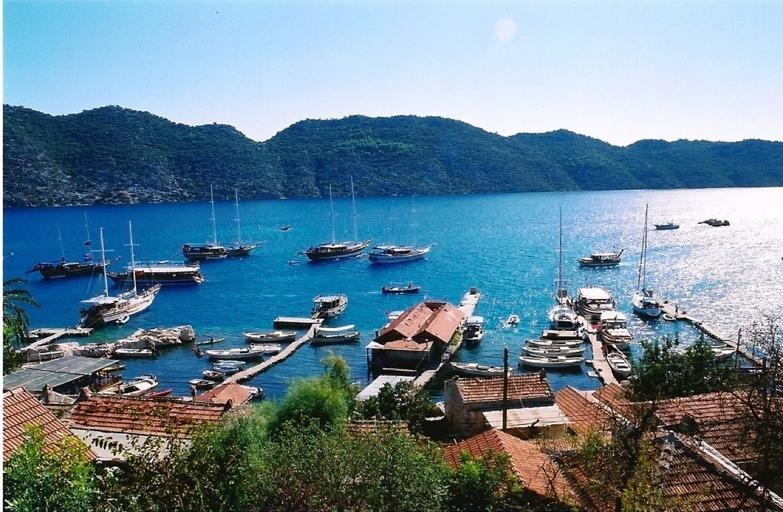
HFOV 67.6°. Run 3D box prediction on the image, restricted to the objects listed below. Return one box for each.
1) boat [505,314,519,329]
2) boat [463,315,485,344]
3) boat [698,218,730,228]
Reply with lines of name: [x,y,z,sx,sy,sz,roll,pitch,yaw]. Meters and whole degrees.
boat: [13.587,7.331,65.874,1.047,0.439,1.653,2,27,20]
boat: [8.413,7.737,60.707,2.938,2.287,8.328,0,0,7]
boat: [82.406,-8.376,149.804,6.391,1.402,4.716,5,11,32]
